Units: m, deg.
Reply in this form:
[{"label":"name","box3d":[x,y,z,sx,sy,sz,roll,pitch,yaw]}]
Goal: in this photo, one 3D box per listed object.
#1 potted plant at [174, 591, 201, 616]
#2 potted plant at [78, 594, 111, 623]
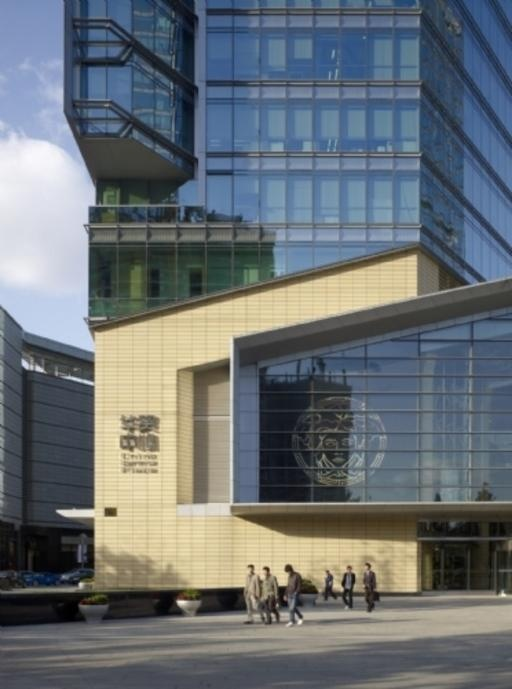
[{"label":"potted plant","box3d":[-2.420,8.729,60.588,0.832,0.924,0.629,-3,-11,11]},{"label":"potted plant","box3d":[-5.378,8.554,58.223,0.756,0.871,0.847,3,-20,-7]}]
